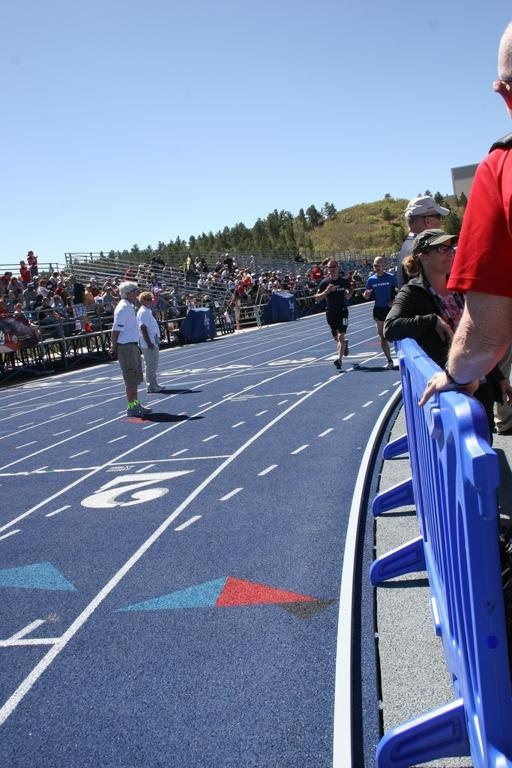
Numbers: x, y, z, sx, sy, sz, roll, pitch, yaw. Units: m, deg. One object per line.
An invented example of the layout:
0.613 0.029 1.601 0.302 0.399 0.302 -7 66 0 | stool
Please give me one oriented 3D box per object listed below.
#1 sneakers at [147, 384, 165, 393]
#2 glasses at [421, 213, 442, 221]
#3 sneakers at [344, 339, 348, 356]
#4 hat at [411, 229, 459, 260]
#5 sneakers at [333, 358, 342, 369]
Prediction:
-2.612 0.154 12.622 0.510 0.246 0.180 -3 16 -13 | sneakers
1.519 -1.426 4.157 0.088 0.028 0.089 5 13 41 | glasses
2.375 -0.930 12.816 0.138 0.510 0.202 -3 15 1 | sneakers
1.180 -0.942 3.208 0.240 0.139 0.180 -12 10 33 | hat
2.104 -0.455 12.427 0.118 0.151 0.327 5 -31 22 | sneakers
